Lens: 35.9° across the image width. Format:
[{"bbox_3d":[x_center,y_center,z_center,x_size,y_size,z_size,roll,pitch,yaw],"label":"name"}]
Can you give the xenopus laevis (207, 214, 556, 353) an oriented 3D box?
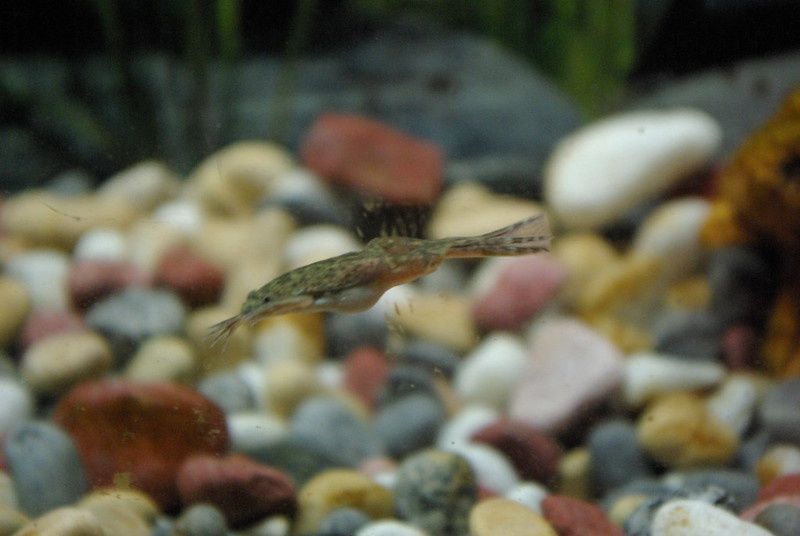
[{"bbox_3d":[-0.020,0.010,1.531,0.328,0.084,0.067,-16,79,-9],"label":"xenopus laevis"}]
